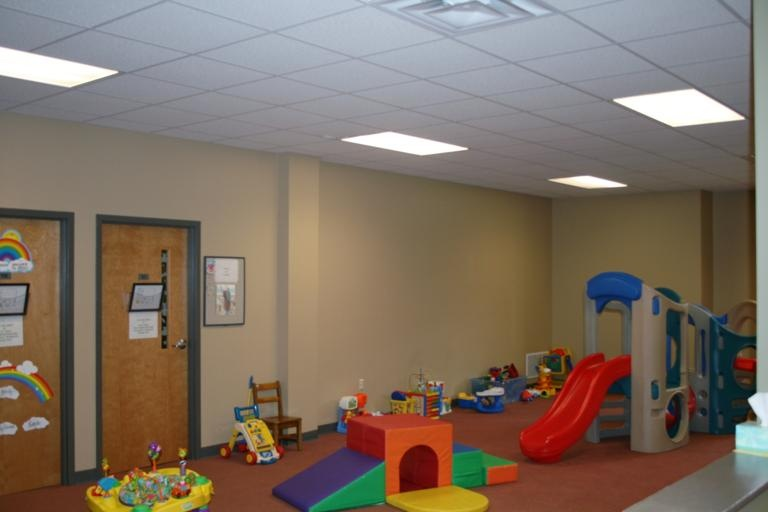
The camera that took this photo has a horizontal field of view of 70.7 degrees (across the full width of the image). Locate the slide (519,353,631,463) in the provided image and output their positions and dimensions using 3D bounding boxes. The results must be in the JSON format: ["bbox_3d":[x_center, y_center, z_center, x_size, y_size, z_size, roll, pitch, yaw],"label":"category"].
[{"bbox_3d":[2.287,1.819,6.522,1.539,1.188,0.565,1,0,-33],"label":"slide"}]

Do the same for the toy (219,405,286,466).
[{"bbox_3d":[-1.533,2.112,6.455,0.531,0.601,0.662,4,-7,-44],"label":"toy"}]

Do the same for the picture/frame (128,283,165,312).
[{"bbox_3d":[-2.673,0.456,6.053,0.025,0.247,0.288,12,-3,42],"label":"picture/frame"}]
